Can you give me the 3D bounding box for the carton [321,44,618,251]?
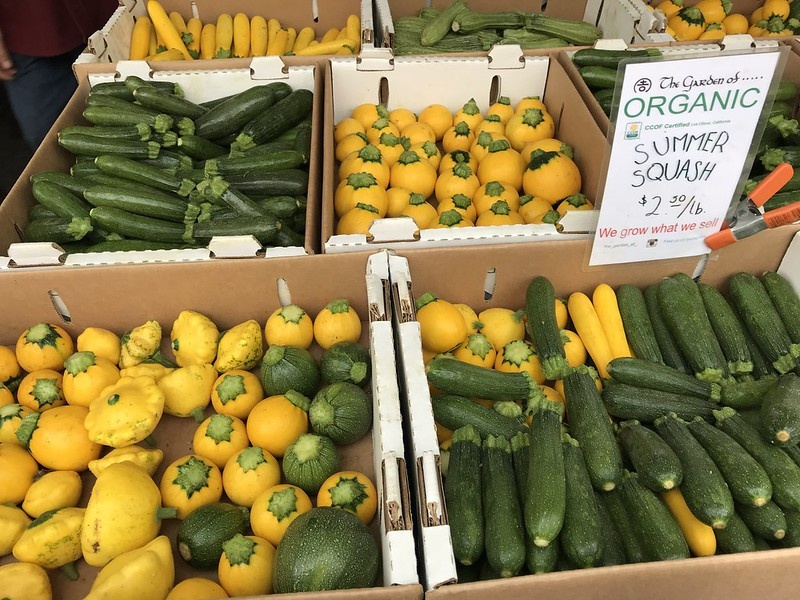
[{"bbox_3d":[0.440,-1.144,3.483,1.535,0.514,1.417,0,55,-2],"label":"carton"}]
